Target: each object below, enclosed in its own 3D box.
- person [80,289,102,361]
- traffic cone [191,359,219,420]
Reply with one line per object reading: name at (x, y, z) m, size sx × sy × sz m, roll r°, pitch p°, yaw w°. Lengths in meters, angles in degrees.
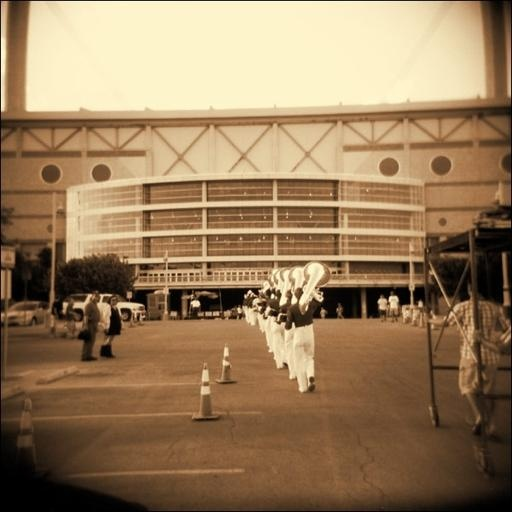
person at (-4.183, 1.807, 18.654) m, size 0.433 × 1.928 × 0.555 m, roll 1°, pitch 3°, yaw -31°
traffic cone at (-0.718, 1.767, 10.157) m, size 0.318 × 0.935 × 0.304 m, roll 0°, pitch -2°, yaw 0°
